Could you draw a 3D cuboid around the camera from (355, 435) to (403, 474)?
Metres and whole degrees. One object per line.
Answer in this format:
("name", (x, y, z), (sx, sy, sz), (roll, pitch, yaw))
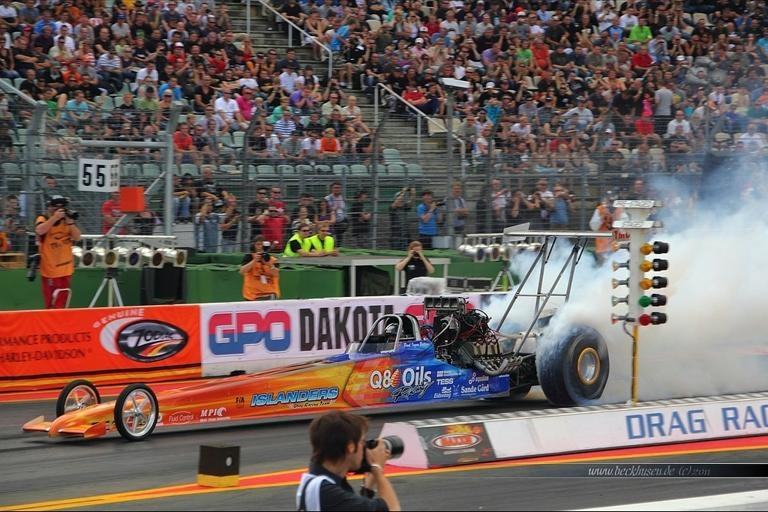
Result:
("camera", (-0.174, 2.390, 16.560), (0.708, 0.259, 0.563), (6, -17, -18))

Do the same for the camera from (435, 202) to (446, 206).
("camera", (1.205, -1.134, 28.337), (0.129, 0.092, 0.027), (-3, -10, -8))

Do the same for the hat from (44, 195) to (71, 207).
("hat", (-6.022, -1.012, 24.399), (0.321, 0.222, 0.238), (1, 2, -15))

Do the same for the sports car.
("sports car", (-0.702, 1.105, 21.544), (8.795, 2.195, 3.788), (0, -1, -26))

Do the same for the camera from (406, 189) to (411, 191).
("camera", (0.510, -1.424, 28.225), (0.069, 0.064, 0.018), (0, 2, -18))

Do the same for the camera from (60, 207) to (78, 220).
("camera", (-5.870, -0.796, 24.596), (0.161, 0.144, 0.411), (17, -4, -25))
